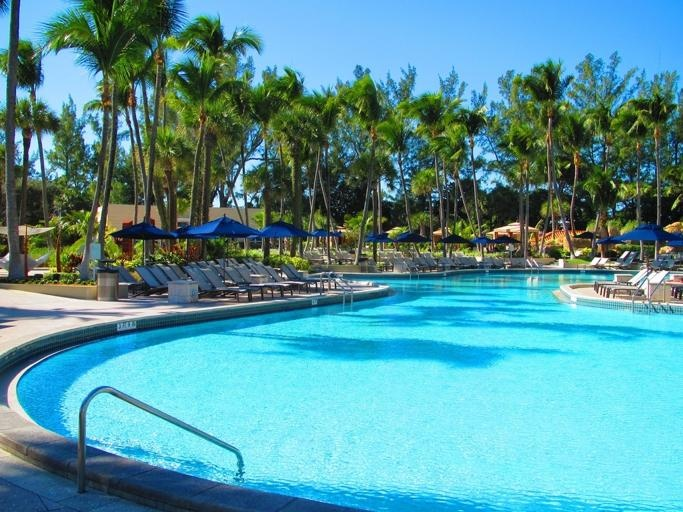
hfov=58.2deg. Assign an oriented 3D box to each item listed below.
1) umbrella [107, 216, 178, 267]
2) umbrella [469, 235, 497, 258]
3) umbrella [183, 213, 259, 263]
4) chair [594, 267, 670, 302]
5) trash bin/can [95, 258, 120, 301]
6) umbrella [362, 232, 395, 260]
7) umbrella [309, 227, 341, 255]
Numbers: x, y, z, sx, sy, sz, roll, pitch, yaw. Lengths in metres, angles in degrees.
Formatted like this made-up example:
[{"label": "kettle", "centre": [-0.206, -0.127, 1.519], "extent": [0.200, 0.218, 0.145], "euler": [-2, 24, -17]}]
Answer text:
[{"label": "umbrella", "centre": [-6.641, -0.561, 20.519], "extent": [1.453, 0.883, 1.667], "euler": [1, 4, 9]}, {"label": "umbrella", "centre": [10.404, -0.588, 45.475], "extent": [1.446, 1.279, 1.707], "euler": [-2, 5, -9]}, {"label": "umbrella", "centre": [-3.812, -0.858, 20.470], "extent": [1.937, 1.101, 1.975], "euler": [-5, 5, -45]}, {"label": "chair", "centre": [9.550, 0.945, 20.328], "extent": [1.793, 1.168, 3.741], "euler": [5, 7, 16]}, {"label": "trash bin/can", "centre": [-6.889, 0.728, 18.192], "extent": [0.819, 1.216, 0.894], "euler": [3, 5, -1]}, {"label": "umbrella", "centre": [2.181, -0.479, 36.009], "extent": [1.298, 1.079, 1.372], "euler": [4, 8, 32]}, {"label": "umbrella", "centre": [-1.054, -0.796, 40.816], "extent": [1.892, 0.839, 1.973], "euler": [0, 7, 1]}]
